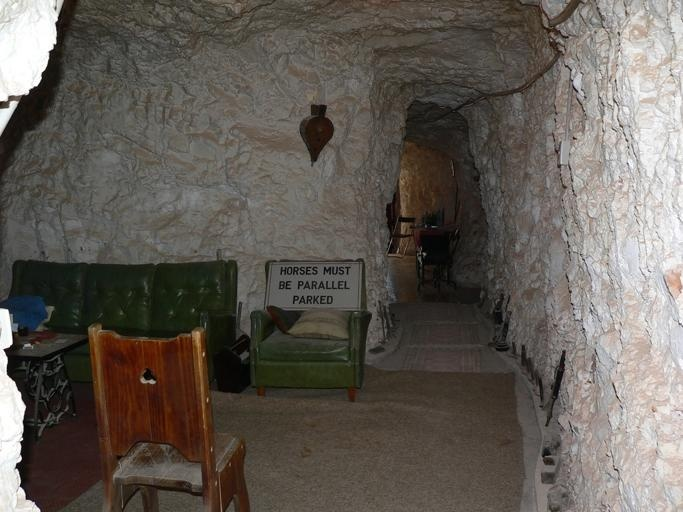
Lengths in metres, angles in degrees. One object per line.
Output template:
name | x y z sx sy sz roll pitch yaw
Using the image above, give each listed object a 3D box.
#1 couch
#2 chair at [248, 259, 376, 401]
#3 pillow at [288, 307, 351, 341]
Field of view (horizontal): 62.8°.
couch | -1.835 0.561 4.614 1.845 1.036 0.823 2 -1 -14
chair | -0.216 0.576 4.673 0.898 1.114 0.878 -1 -12 5
pillow | -0.152 0.542 4.491 0.283 0.088 0.274 3 20 10
